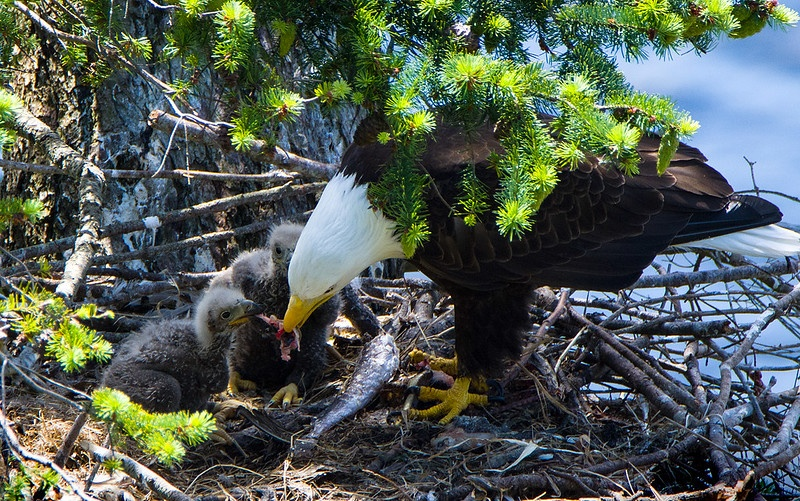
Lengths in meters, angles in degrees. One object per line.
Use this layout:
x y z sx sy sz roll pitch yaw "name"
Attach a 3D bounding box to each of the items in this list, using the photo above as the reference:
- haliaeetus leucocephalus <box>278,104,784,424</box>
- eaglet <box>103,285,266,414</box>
0.894 0.166 9.078 3.318 2.243 0.676 8 8 -15 "haliaeetus leucocephalus"
-1.529 0.656 8.832 0.951 0.818 0.584 2 11 -44 "eaglet"
